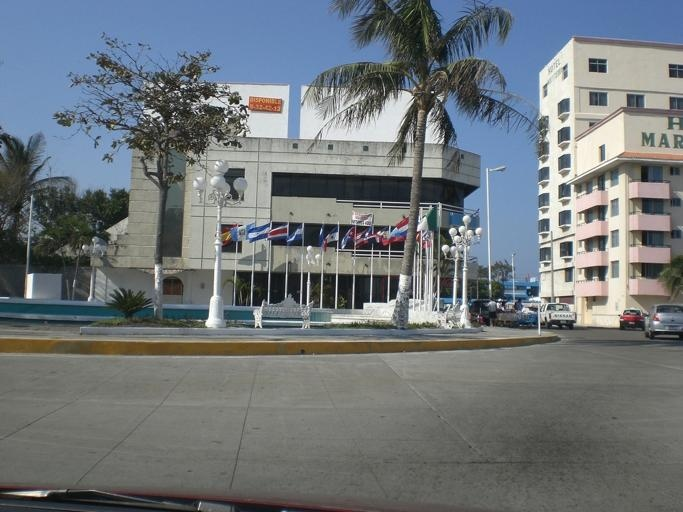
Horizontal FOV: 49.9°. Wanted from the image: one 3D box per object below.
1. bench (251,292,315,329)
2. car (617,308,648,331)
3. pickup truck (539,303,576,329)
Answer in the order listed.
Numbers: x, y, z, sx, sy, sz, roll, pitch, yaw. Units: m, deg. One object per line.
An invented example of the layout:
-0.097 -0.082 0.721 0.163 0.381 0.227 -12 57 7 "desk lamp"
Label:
-2.096 1.905 25.428 2.185 1.111 1.141 5 -5 -37 "bench"
19.247 4.258 48.978 1.270 1.189 3.027 -1 -1 14 "car"
13.711 3.772 46.653 1.878 1.543 2.838 1 -4 12 "pickup truck"
